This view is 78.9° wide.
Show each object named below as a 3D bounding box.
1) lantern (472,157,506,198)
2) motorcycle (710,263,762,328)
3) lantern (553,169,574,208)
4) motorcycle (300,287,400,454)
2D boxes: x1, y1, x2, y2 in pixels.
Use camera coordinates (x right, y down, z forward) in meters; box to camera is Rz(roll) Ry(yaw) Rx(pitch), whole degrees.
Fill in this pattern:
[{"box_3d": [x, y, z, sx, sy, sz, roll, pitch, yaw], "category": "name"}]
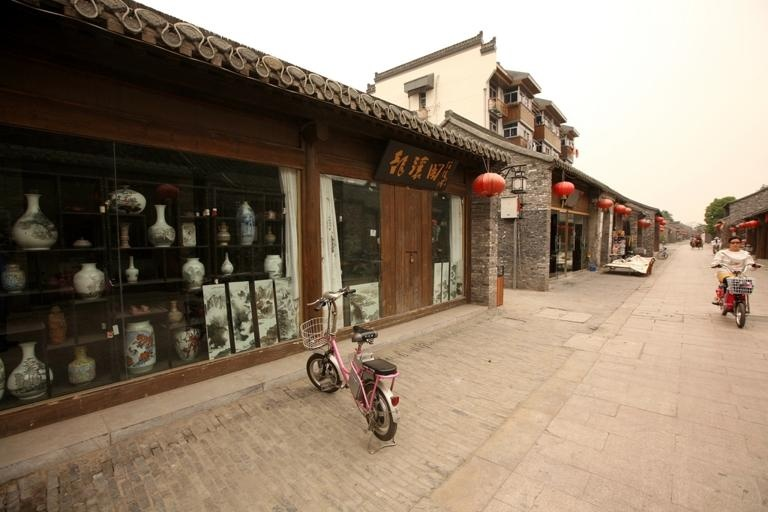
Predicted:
[{"box_3d": [2.299, -1.761, 10.312, 0.618, 0.854, 0.955, -3, 2, 11], "category": "lantern"}, {"box_3d": [7.733, 0.849, 10.037, 0.793, 0.951, 1.641, -1, -1, 14], "category": "motorcycle"}, {"box_3d": [5.536, -2.108, 14.314, 0.617, 1.048, 0.614, 3, 17, 23], "category": "lantern"}, {"box_3d": [-0.511, 1.463, 6.509, 0.957, 1.738, 2.323, -6, 12, -36], "category": "motorcycle"}]
